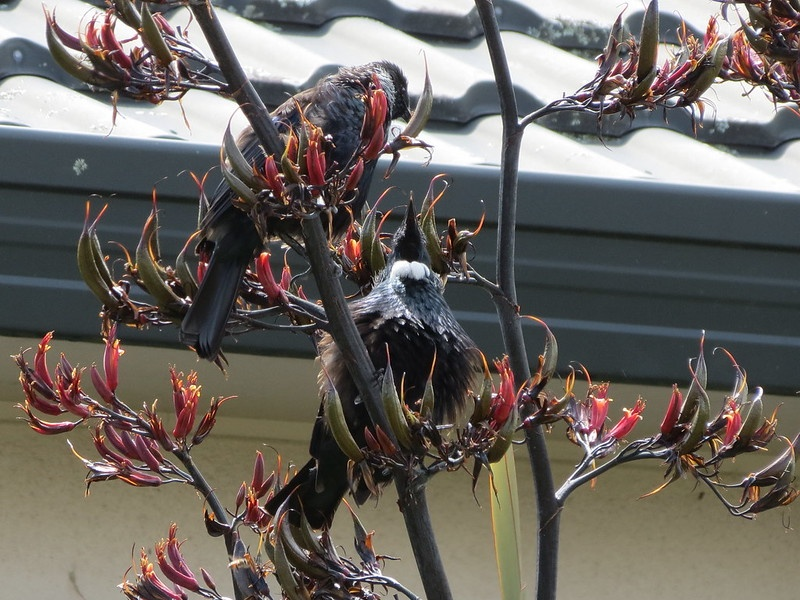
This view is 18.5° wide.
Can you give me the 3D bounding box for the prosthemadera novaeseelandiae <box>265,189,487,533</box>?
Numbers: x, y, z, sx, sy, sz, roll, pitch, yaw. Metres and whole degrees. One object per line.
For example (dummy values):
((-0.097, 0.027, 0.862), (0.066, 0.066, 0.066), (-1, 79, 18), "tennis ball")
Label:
((-0.047, 0.136, 6.161), (0.401, 0.743, 0.629), (14, -19, -30), "prosthemadera novaeseelandiae")
